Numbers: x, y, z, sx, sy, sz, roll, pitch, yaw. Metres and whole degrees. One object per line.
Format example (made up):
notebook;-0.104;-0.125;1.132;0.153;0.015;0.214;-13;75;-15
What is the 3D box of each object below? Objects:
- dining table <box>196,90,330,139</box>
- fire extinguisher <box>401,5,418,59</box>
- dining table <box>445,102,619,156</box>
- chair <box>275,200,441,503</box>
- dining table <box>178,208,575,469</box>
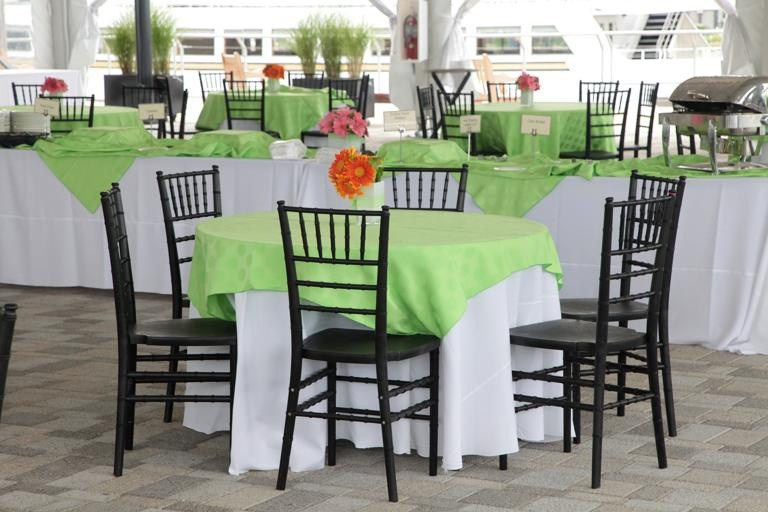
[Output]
dining table;-1.474;-1.692;8.812;1.493;0.481;1.384;3;6;14
fire extinguisher;0.350;-3.144;10.419;0.267;0.769;0.143;2;13;18
dining table;1.526;-1.208;7.134;1.288;0.505;0.939;-1;11;6
chair;-0.106;0.324;3.174;0.685;1.172;0.804;-1;12;3
dining table;-0.038;0.321;3.131;1.287;0.709;1.314;0;0;24
